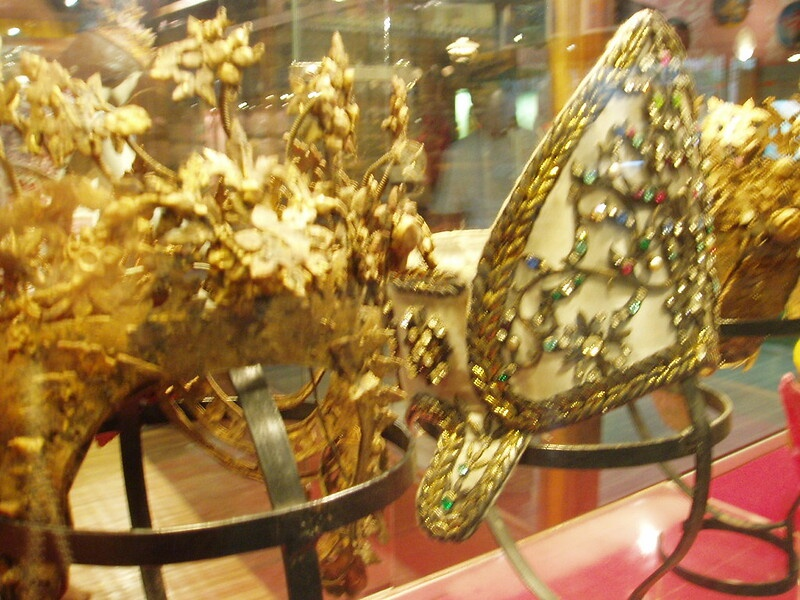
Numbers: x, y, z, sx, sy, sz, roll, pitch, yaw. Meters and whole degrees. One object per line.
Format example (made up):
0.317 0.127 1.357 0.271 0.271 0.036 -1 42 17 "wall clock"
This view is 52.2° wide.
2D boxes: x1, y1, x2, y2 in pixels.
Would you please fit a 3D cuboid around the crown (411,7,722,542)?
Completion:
0.208 -0.024 1.049 0.417 0.636 0.169 -9 26 -14 "crown"
